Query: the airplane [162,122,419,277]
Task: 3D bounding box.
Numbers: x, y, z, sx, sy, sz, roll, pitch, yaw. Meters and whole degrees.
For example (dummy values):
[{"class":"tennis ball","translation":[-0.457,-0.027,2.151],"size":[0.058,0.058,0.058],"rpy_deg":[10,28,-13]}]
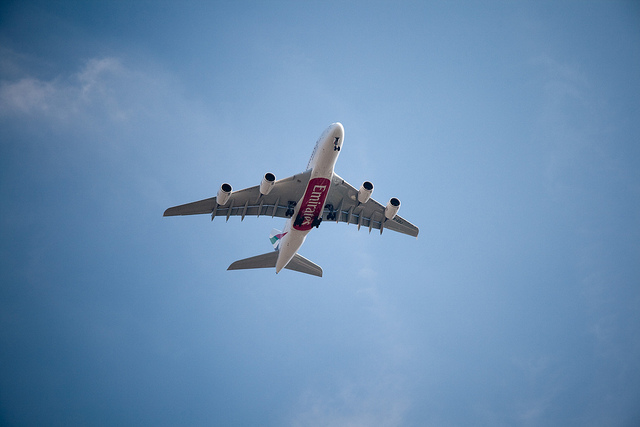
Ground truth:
[{"class":"airplane","translation":[-1.070,-0.021,49.000],"size":[15.010,4.576,12.468],"rpy_deg":[6,-60,-16]}]
